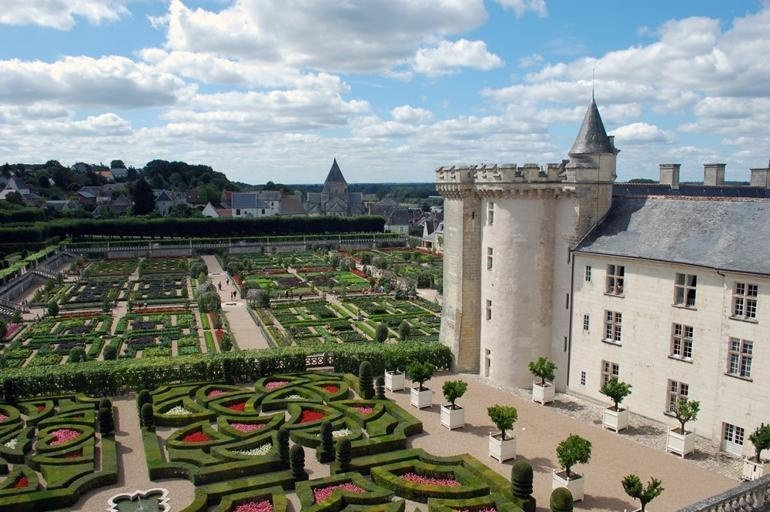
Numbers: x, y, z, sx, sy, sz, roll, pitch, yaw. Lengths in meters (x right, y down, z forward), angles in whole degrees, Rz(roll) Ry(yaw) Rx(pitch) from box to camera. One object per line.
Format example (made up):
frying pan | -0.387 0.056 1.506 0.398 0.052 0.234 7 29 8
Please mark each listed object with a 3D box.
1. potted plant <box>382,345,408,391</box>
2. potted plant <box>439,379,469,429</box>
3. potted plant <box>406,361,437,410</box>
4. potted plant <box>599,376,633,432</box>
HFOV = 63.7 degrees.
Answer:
potted plant | 0.837 9.034 49.347 1.651 2.685 2.801 -1 9 1
potted plant | 4.788 10.130 43.468 1.711 3.158 2.680 0 9 7
potted plant | 2.624 9.376 46.039 1.727 3.419 1.814 -1 9 3
potted plant | 15.935 10.091 42.676 1.778 3.425 2.236 3 10 21
